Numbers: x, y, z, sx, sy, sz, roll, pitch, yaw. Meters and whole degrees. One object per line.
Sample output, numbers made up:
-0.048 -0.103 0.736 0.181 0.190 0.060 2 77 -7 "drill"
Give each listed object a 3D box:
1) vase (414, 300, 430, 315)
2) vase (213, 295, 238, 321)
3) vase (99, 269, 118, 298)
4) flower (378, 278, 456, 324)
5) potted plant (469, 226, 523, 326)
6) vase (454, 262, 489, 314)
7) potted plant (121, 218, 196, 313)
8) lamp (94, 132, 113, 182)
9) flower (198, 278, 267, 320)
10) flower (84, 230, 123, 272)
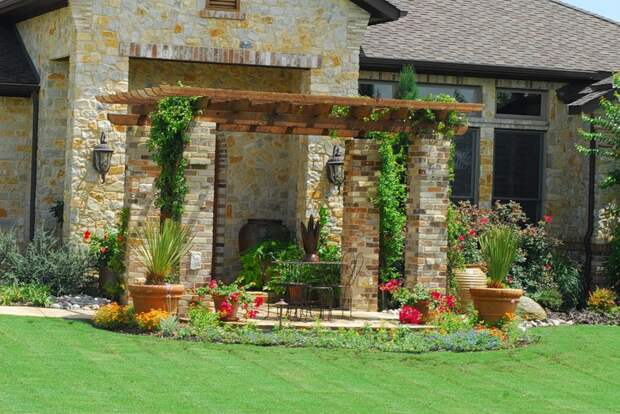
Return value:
2.355 2.081 21.412 0.276 0.208 0.278 2 -2 1 "vase"
-1.660 2.029 20.773 0.491 0.378 0.502 -2 -5 35 "vase"
-4.441 1.690 22.892 0.394 0.693 1.159 4 -5 -11 "vase"
2.210 2.010 21.808 1.093 0.542 1.035 5 -5 -11 "flower"
3.940 1.427 21.746 1.003 2.112 0.780 2 -5 10 "potted plant"
3.491 1.760 22.980 0.946 1.144 0.849 -1 -5 11 "vase"
-3.074 1.261 20.917 0.963 1.892 1.130 0 -7 14 "potted plant"
-4.695 -1.143 23.641 0.475 1.171 0.448 4 -4 -31 "lamp"
-1.546 1.899 20.897 0.976 0.515 0.815 18 -10 13 "flower"
-4.523 0.918 22.976 0.997 0.912 0.999 1 -16 1 "flower"
